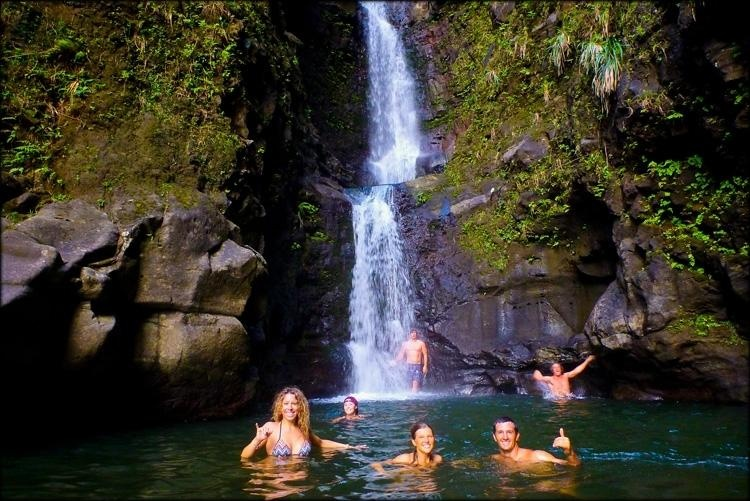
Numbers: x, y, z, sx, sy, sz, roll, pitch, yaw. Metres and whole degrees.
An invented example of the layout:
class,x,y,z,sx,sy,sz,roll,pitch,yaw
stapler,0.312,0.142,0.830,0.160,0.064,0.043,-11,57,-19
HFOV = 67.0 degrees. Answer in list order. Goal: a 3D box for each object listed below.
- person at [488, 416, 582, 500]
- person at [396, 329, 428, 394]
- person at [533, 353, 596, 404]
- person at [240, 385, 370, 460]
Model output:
class,x,y,z,sx,sy,sz,roll,pitch,yaw
person,2.392,3.095,8.595,1.336,0.715,1.114,2,5,20
person,1.068,3.022,15.950,0.874,1.799,1.385,0,5,4
person,4.581,3.048,13.888,1.449,1.156,1.020,2,6,26
person,-1.306,2.936,9.464,1.920,1.125,1.151,13,-28,-33
